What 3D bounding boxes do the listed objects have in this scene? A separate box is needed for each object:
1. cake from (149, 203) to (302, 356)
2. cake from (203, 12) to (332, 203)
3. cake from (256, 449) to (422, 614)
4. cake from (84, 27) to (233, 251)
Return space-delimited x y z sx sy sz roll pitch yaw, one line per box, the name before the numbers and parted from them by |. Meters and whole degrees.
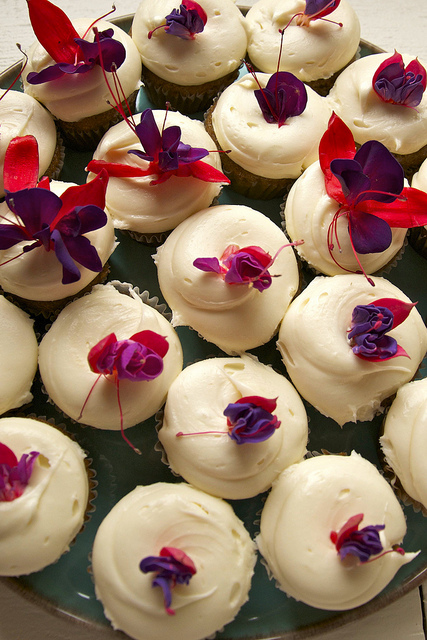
cake | 0.041 -0.147 2.188 0.534 0.520 0.505 -9 87 0
cake | 0.207 -0.785 2.373 0.565 0.613 0.432 5 70 -14
cake | 0.382 0.675 1.911 0.456 0.261 0.428 -24 46 -17
cake | -0.218 -0.622 2.163 0.545 0.500 0.447 -31 92 -3
